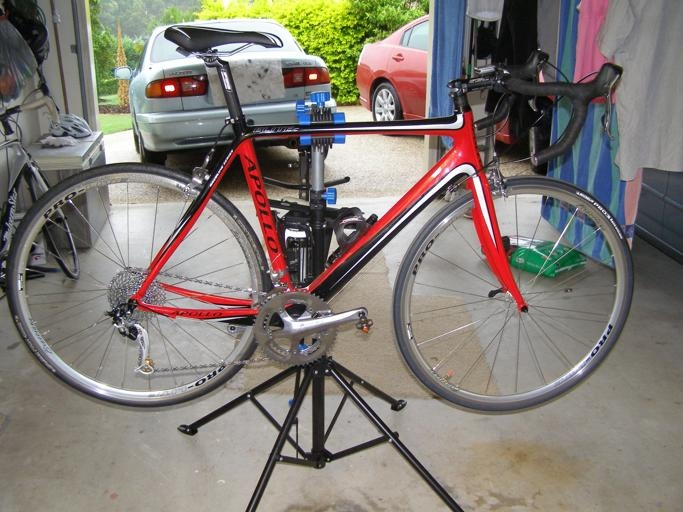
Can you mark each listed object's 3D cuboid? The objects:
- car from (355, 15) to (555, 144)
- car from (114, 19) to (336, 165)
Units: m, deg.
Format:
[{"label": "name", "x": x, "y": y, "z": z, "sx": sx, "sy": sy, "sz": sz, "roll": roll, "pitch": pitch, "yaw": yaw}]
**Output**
[{"label": "car", "x": 1.496, "y": -2.509, "z": 7.815, "sx": 1.695, "sy": 1.571, "sz": 3.466, "roll": 21, "pitch": 20, "yaw": 5}, {"label": "car", "x": -1.509, "y": -2.061, "z": 6.220, "sx": 2.096, "sy": 1.386, "sz": 4.009, "roll": -12, "pitch": 24, "yaw": -23}]
